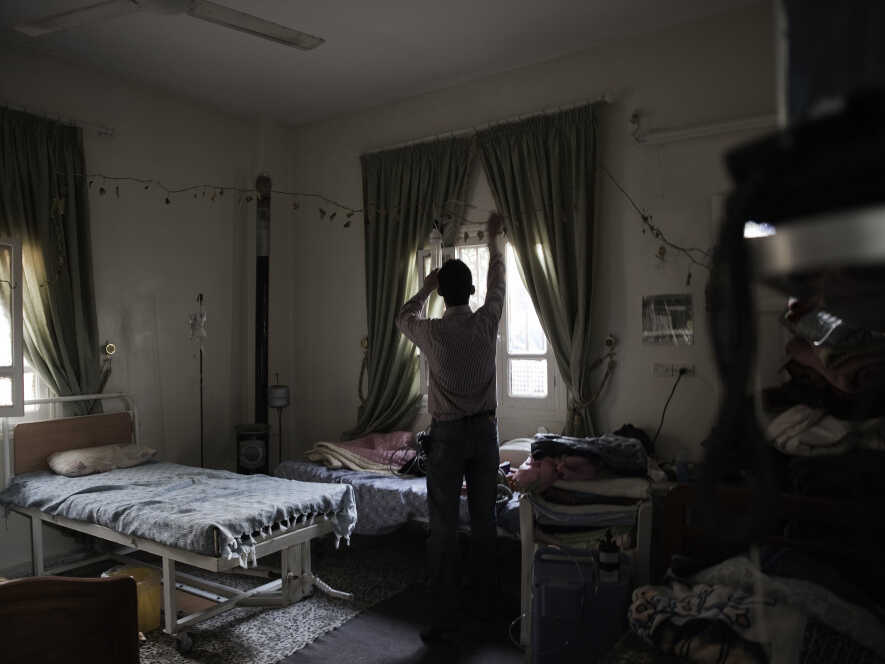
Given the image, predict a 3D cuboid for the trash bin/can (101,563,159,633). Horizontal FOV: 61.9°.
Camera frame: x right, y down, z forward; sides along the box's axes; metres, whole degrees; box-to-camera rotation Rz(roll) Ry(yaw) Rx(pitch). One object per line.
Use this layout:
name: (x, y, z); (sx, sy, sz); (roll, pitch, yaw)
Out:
trash bin/can: (-1.529, 1.379, 3.683); (0.187, 0.221, 0.193); (-6, -7, -25)

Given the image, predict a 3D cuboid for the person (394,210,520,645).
person: (0.090, 0.496, 3.609); (0.509, 1.911, 0.422); (-2, 1, -8)
